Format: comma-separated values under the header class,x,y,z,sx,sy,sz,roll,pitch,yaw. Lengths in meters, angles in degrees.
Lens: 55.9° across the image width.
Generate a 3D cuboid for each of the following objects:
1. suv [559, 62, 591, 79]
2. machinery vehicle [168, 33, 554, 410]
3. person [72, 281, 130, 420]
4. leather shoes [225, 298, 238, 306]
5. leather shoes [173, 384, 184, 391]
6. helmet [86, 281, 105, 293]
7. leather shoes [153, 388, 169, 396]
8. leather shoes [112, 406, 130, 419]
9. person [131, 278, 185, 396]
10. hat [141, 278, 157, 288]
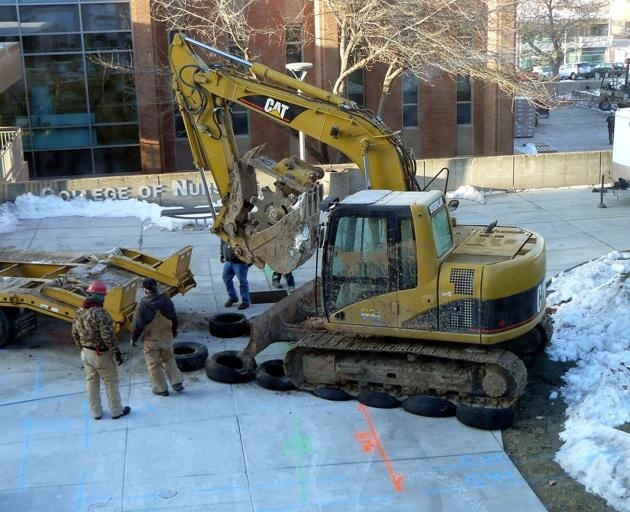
class,x,y,z,sx,sy,sz,roll,pitch,yaw
suv,26.181,-18.700,60.064,2.332,1.874,5.154,0,12,9
machinery vehicle,0.808,-0.722,9.214,6.942,4.819,3.260,8,27,35
person,-2.762,1.230,7.603,0.592,1.747,0.466,11,20,41
leather shoes,-1.757,0.933,12.001,0.333,0.115,0.108,-11,0,-18
leather shoes,-1.951,1.851,8.416,0.130,0.096,0.118,0,-7,7
helmet,-2.865,0.415,7.719,0.223,0.112,0.256,-10,21,-30
leather shoes,-2.196,1.919,8.392,0.205,0.066,0.082,10,12,13
leather shoes,-2.550,2.030,7.773,0.087,0.085,0.233,12,26,26
person,-2.258,1.128,8.319,0.625,1.647,0.463,-6,16,-13
hat,-2.336,0.382,8.206,0.235,0.154,0.156,-2,4,13
